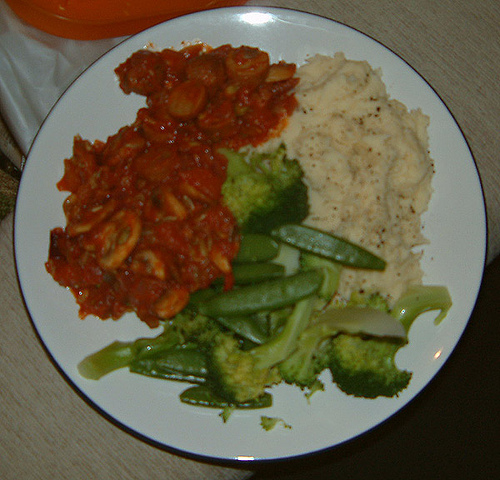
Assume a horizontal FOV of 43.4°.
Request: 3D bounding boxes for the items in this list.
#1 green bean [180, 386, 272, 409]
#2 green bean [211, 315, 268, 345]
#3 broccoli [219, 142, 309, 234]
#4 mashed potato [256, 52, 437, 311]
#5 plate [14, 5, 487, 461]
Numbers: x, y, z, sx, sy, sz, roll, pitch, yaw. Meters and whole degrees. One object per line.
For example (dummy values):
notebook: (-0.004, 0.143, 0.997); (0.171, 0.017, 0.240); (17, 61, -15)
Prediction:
green bean: (-0.049, 0.338, 1.349); (0.196, 0.023, 0.041); (8, 85, 1)
green bean: (-0.007, 0.183, 1.378); (0.158, 0.032, 0.055); (22, 83, -16)
broccoli: (0.043, -0.110, 1.348); (0.180, 0.050, 0.185); (-17, 97, -5)
mashed potato: (0.254, -0.144, 1.407); (0.464, 0.069, 0.527); (22, 97, 8)
plate: (0.001, 0.026, 1.375); (0.956, 0.159, 1.005); (-1, 93, -9)
